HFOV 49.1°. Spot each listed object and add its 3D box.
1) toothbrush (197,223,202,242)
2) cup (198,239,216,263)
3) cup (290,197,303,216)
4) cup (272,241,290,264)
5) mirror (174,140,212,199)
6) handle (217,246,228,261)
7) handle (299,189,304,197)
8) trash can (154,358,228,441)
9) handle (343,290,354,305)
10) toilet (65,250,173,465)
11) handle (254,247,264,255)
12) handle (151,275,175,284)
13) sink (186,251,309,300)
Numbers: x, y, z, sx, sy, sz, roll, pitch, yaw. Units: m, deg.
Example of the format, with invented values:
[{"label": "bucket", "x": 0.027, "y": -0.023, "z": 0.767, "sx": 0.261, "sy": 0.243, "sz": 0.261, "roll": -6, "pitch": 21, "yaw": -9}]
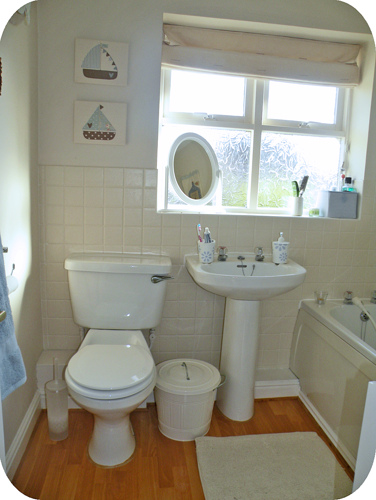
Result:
[{"label": "toothbrush", "x": 0.062, "y": -0.083, "z": 2.002, "sx": 0.020, "sy": 0.080, "sz": 0.044, "roll": 2, "pitch": 10, "yaw": 2}, {"label": "cup", "x": 0.094, "y": 0.006, "z": 2.010, "sx": 0.082, "sy": 0.111, "sz": 0.085, "roll": 2, "pitch": 10, "yaw": 0}, {"label": "cup", "x": 0.633, "y": -0.255, "z": 2.387, "sx": 0.070, "sy": 0.104, "sz": 0.149, "roll": 1, "pitch": 10, "yaw": -5}, {"label": "cup", "x": 0.470, "y": 0.012, "z": 2.139, "sx": 0.088, "sy": 0.109, "sz": 0.101, "roll": 1, "pitch": 5, "yaw": -4}, {"label": "mirror", "x": 0.023, "y": -0.439, "z": 2.206, "sx": 0.296, "sy": 0.367, "sz": 0.039, "roll": -3, "pitch": 2, "yaw": -35}, {"label": "handle", "x": 0.177, "y": 0.024, "z": 2.089, "sx": 0.053, "sy": 0.085, "sz": 0.057, "roll": -1, "pitch": 7, "yaw": 3}, {"label": "handle", "x": 0.658, "y": -0.328, "z": 2.375, "sx": 0.023, "sy": 0.042, "sz": 0.059, "roll": 4, "pitch": 10, "yaw": 14}, {"label": "trash can", "x": -0.006, "y": 0.712, "z": 1.993, "sx": 0.309, "sy": 0.284, "sz": 0.324, "roll": 1, "pitch": 10, "yaw": -5}, {"label": "handle", "x": 0.880, "y": 0.268, "z": 2.251, "sx": 0.051, "sy": 0.083, "sz": 0.064, "roll": 0, "pitch": 3, "yaw": -2}, {"label": "toilet", "x": -0.322, "y": 0.477, "z": 1.835, "sx": 0.465, "sy": 0.763, "sz": 0.705, "roll": 2, "pitch": 15, "yaw": -9}, {"label": "handle", "x": 0.372, "y": 0.006, "z": 2.131, "sx": 0.028, "sy": 0.043, "sz": 0.040, "roll": 1, "pitch": 0, "yaw": -3}, {"label": "handle", "x": -0.105, "y": 0.138, "z": 1.930, "sx": 0.083, "sy": 0.036, "sz": 0.045, "roll": -2, "pitch": 4, "yaw": 13}, {"label": "sink", "x": 0.270, "y": 0.152, "z": 2.000, "sx": 0.559, "sy": 0.252, "sz": 0.510, "roll": 2, "pitch": 9, "yaw": 0}]
